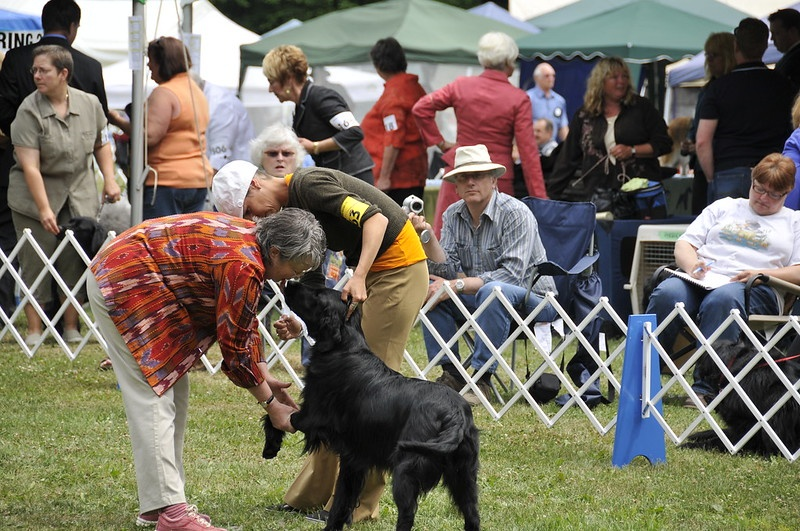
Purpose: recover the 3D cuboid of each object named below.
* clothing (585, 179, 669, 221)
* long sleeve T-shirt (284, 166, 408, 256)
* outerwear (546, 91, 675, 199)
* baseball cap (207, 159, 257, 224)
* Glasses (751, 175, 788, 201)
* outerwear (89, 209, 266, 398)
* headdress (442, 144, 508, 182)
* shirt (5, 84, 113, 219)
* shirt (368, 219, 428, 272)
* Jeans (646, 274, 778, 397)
[{"bbox_3d":[2.161,-0.587,11.470,0.552,0.284,0.418,1,7,-3],"label":"clothing"},{"bbox_3d":[-0.353,-0.354,8.067,0.632,0.310,0.564,30,1,-31],"label":"long sleeve T-shirt"},{"bbox_3d":[2.056,-1.050,11.899,1.446,1.182,0.831,-3,4,23],"label":"outerwear"},{"bbox_3d":[-1.061,-0.502,8.011,0.282,0.369,0.264,12,21,3],"label":"baseball cap"},{"bbox_3d":[2.902,-0.583,9.711,0.279,0.155,0.138,8,8,18],"label":"Glasses"},{"bbox_3d":[-1.382,0.196,8.059,1.210,1.096,0.916,-3,10,-13],"label":"outerwear"},{"bbox_3d":[0.655,-0.851,10.373,0.386,0.186,0.438,-7,-12,5],"label":"headdress"},{"bbox_3d":[-2.906,-0.971,10.509,1.038,1.292,0.668,-4,8,-40],"label":"shirt"},{"bbox_3d":[0.018,-0.093,8.250,0.324,0.265,0.340,-28,-2,35],"label":"shirt"},{"bbox_3d":[2.455,0.560,9.857,0.885,1.232,0.861,6,2,-38],"label":"Jeans"}]
